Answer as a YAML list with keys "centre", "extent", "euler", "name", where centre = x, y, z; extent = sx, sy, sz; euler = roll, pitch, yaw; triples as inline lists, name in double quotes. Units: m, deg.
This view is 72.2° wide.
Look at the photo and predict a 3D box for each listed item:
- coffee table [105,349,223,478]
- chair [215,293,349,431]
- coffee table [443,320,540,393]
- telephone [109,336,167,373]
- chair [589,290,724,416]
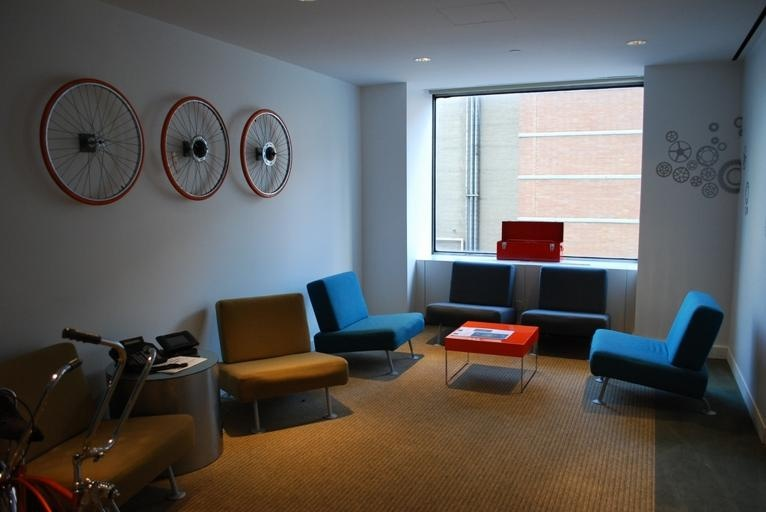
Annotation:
- centre: [-1.669, 1.338, 4.549]
  extent: [0.873, 0.972, 0.879]
  euler: [0, 2, 5]
  name: "coffee table"
- centre: [-1.093, 0.924, 5.175]
  extent: [1.293, 1.391, 1.184]
  euler: [-2, 2, -38]
  name: "chair"
- centre: [1.224, 1.029, 5.812]
  extent: [0.766, 0.442, 0.797]
  euler: [1, 10, 25]
  name: "coffee table"
- centre: [-1.995, 0.801, 4.337]
  extent: [0.402, 0.146, 0.308]
  euler: [11, 17, 41]
  name: "telephone"
- centre: [2.682, 0.959, 5.418]
  extent: [1.194, 1.002, 1.253]
  euler: [-4, 2, 22]
  name: "chair"
